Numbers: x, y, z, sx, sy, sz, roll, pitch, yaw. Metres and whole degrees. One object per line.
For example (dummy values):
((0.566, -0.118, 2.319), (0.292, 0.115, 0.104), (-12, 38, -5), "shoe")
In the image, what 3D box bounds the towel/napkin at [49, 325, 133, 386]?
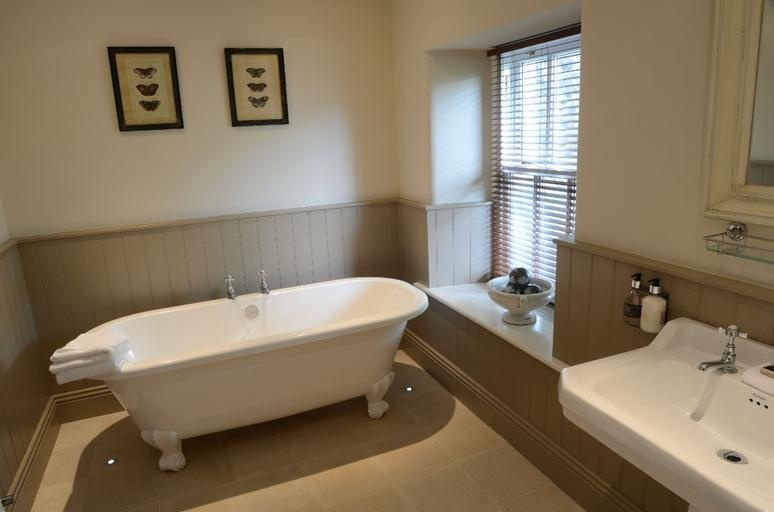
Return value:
((-1.760, 0.578, 2.984), (0.387, 0.210, 0.358), (-7, 17, -9), "towel/napkin")

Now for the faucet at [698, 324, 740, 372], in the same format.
((1.410, 0.391, 2.113), (0.164, 0.206, 0.112), (-9, 19, -5), "faucet")
